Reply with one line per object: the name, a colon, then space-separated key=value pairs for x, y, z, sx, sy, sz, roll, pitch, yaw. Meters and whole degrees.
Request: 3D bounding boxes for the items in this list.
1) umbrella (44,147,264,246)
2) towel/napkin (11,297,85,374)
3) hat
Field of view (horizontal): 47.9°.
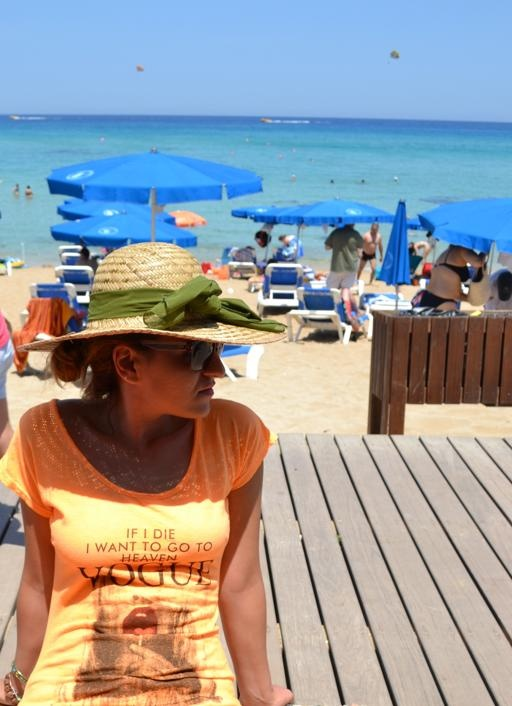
umbrella: x=-1.205 y=-2.280 z=7.770 sx=1.929 sy=1.216 sz=1.876 roll=12 pitch=15 yaw=36
towel/napkin: x=-3.102 y=-0.338 z=8.250 sx=0.572 sy=0.757 sz=0.757 roll=16 pitch=19 yaw=6
hat: x=-0.213 y=-0.117 z=1.161 sx=0.507 sy=0.189 sz=0.435 roll=2 pitch=7 yaw=17
